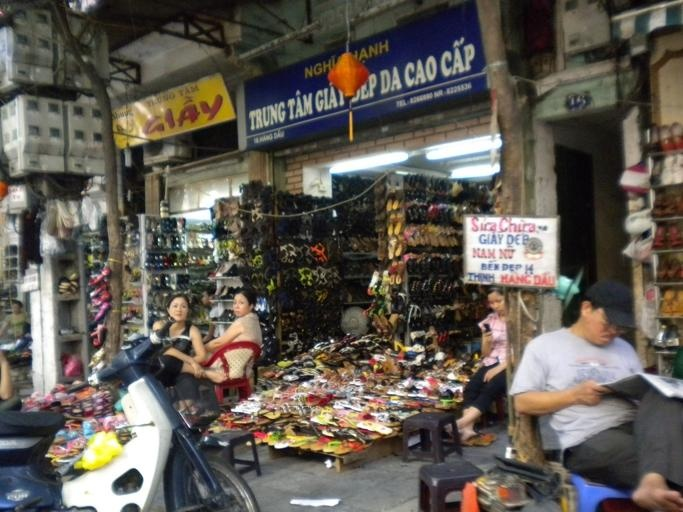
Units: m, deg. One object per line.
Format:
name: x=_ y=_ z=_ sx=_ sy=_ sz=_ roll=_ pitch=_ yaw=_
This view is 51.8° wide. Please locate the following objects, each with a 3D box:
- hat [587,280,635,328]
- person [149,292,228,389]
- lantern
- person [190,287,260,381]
hat: x=1.897 y=0.328 z=4.949 sx=0.278 sy=0.336 sz=0.261 roll=2 pitch=0 yaw=26
person: x=-1.681 y=0.924 z=7.346 sx=0.609 sy=1.032 sz=0.662 roll=-1 pitch=2 yaw=-39
lantern: x=0.112 y=-2.019 z=8.814 sx=0.515 sy=0.951 sz=1.749 roll=-4 pitch=1 yaw=2
person: x=-1.291 y=0.863 z=7.778 sx=0.590 sy=1.003 sz=0.537 roll=2 pitch=4 yaw=41
